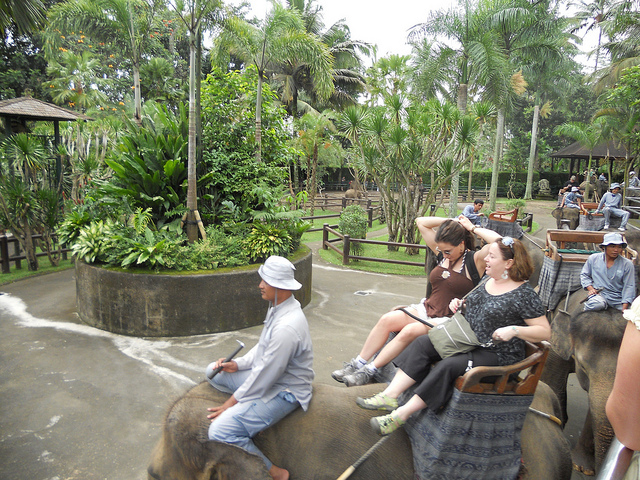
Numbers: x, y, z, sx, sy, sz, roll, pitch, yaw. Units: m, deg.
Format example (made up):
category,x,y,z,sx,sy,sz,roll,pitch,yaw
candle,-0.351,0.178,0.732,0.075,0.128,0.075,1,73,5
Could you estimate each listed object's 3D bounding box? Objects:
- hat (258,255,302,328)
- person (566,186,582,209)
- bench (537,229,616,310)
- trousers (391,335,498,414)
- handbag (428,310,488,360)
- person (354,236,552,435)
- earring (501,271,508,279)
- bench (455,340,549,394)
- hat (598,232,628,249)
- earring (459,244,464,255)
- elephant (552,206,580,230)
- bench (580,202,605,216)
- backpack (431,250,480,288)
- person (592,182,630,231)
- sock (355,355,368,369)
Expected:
category,x,y,z,sx,sy,sz,roll,pitch,yaw
hat,-0.444,0.564,4.658,0.375,0.626,0.453,7,-3,-3
person,10.653,-1.784,19.329,0.537,0.728,1.212,8,15,25
bench,3.995,0.471,7.148,1.147,1.268,0.955,0,2,3
trousers,1.220,1.116,4.245,0.789,0.290,0.731,-8,22,-3
handbag,1.280,0.856,4.288,0.585,0.199,0.640,-6,35,12
person,1.252,0.804,4.250,1.797,1.377,0.979,-17,16,-22
earring,1.781,0.335,4.427,0.053,0.061,0.020,7,7,13
bench,1.644,1.173,4.033,0.432,0.349,0.710,1,-8,10
hat,4.185,-0.009,6.621,0.224,0.161,0.272,0,-12,7
earring,1.561,0.114,5.068,0.029,0.041,0.094,-6,46,26
elephant,10.108,-0.923,18.865,0.641,0.865,1.560,4,14,11
bench,9.723,-1.143,16.485,0.724,0.498,1.773,10,16,29
backpack,1.506,0.314,5.111,0.350,0.406,0.389,5,0,-29
person,9.709,-1.113,15.216,0.824,1.538,1.062,1,8,-19
sock,0.439,1.300,4.907,0.107,0.123,0.090,4,-6,2
